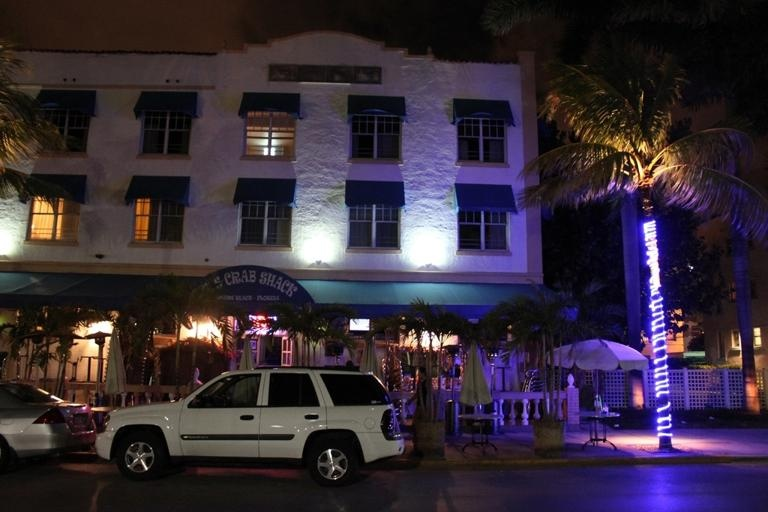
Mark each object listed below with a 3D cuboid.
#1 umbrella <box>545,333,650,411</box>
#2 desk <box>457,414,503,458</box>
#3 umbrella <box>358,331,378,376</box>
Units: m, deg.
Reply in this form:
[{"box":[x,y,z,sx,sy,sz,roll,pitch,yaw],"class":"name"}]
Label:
[{"box":[8.600,4.786,25.842,3.685,2.324,3.502,1,-12,4],"class":"umbrella"},{"box":[3.171,5.905,21.436,1.464,1.045,1.453,0,-13,1],"class":"desk"},{"box":[-0.527,3.393,21.813,0.717,1.144,0.594,6,-10,-14],"class":"umbrella"}]
